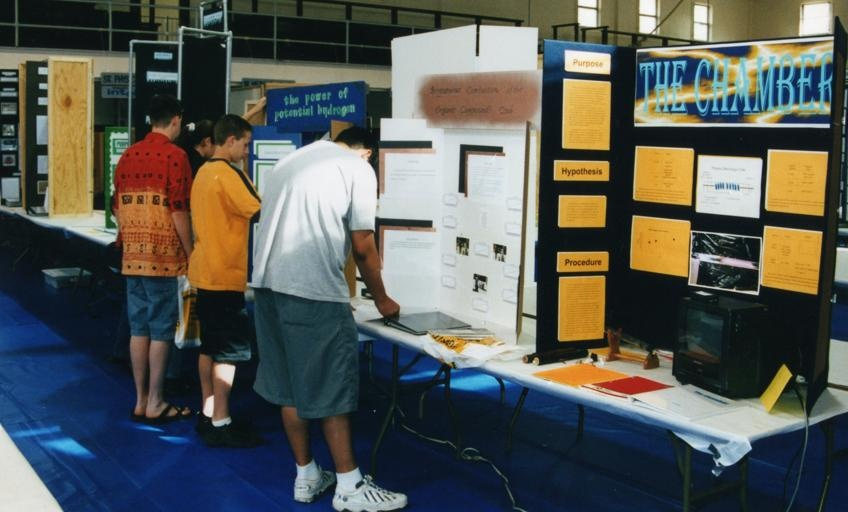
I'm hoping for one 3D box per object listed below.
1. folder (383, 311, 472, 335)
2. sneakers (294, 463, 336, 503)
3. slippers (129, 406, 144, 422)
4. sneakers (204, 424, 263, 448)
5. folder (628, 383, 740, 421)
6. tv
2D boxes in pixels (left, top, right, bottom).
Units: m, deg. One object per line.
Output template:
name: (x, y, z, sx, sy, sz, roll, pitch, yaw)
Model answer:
folder: (0.024, 0.404, 4.425, 0.214, 0.031, 0.238, 17, 16, 33)
sneakers: (-0.636, 1.348, 4.423, 0.135, 0.171, 0.353, 5, 12, 27)
slippers: (-2.037, 1.132, 5.170, 0.102, 0.089, 0.023, 4, -6, 7)
sneakers: (-1.272, 1.208, 4.933, 0.389, 0.156, 0.154, 1, 6, -4)
folder: (1.324, 0.740, 3.659, 0.485, 0.071, 0.268, -3, 10, -23)
tv: (1.483, 0.447, 3.891, 0.588, 0.542, 0.420, -3, 8, -34)
